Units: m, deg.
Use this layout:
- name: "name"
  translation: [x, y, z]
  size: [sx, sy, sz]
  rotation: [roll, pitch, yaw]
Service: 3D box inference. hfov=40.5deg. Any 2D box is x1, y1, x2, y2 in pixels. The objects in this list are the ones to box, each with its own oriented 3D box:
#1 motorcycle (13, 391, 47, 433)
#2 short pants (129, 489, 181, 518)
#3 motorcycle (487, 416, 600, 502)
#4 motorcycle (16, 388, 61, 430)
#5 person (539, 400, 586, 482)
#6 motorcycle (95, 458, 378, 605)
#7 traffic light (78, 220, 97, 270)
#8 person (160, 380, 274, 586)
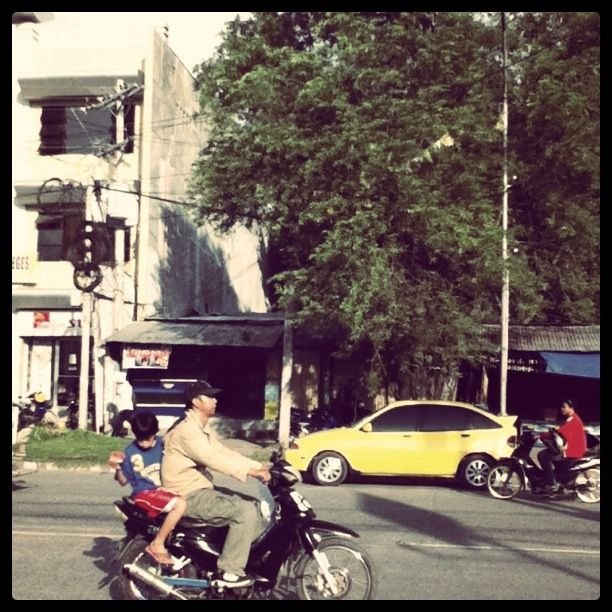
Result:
- name: "motorcycle"
  translation: [-6.653, 2.524, 20.583]
  size: [0.716, 0.934, 0.725]
  rotation: [-2, 3, 25]
- name: "short pants"
  translation: [-1.388, 1.858, 7.827]
  size: [0.304, 0.271, 0.147]
  rotation: [-12, -21, 3]
- name: "motorcycle"
  translation: [3.834, 2.411, 13.112]
  size: [1.880, 1.406, 0.990]
  rotation: [-1, 19, 17]
- name: "motorcycle"
  translation: [-6.585, 2.589, 20.858]
  size: [0.700, 1.223, 2.131]
  rotation: [-1, -9, 7]
- name: "person"
  translation: [4.081, 2.118, 13.199]
  size: [0.501, 1.407, 0.698]
  rotation: [-13, 12, -42]
- name: "motorcycle"
  translation: [-0.523, 2.190, 7.975]
  size: [2.395, 1.377, 0.658]
  rotation: [2, -4, -4]
- name: "traffic light"
  translation: [-5.133, -1.473, 19.652]
  size: [0.289, 0.991, 0.885]
  rotation: [2, 9, -9]
- name: "person"
  translation: [-0.768, 1.677, 8.066]
  size: [1.030, 2.009, 0.774]
  rotation: [-5, 2, 27]
